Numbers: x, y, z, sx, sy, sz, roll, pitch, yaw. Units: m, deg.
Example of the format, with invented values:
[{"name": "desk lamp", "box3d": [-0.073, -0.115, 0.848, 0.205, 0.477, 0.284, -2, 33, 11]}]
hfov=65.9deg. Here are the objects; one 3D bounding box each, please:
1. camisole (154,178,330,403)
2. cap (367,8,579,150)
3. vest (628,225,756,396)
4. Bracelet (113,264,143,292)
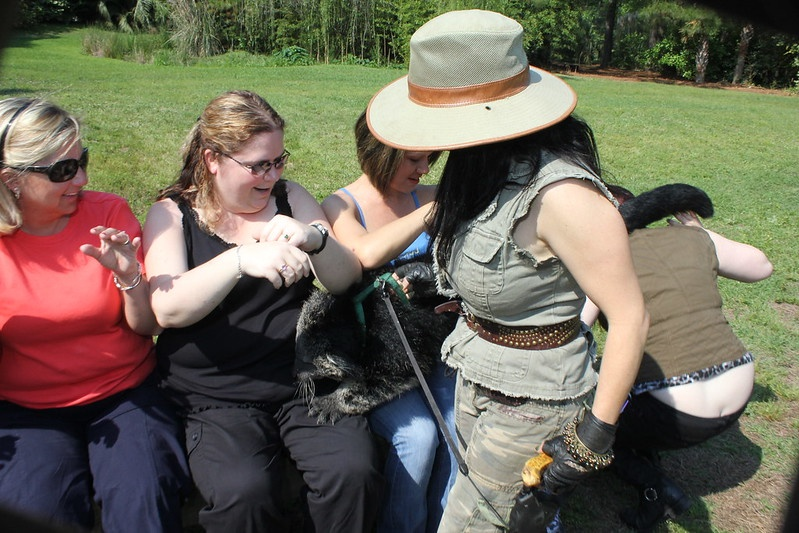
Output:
[{"name": "camisole", "box3d": [-0.970, 0.149, 3.760, 0.662, 1.222, 0.614, -2, -5, -8]}, {"name": "cap", "box3d": [0.305, -0.796, 2.916, 0.690, 0.336, 0.758, -13, 31, -1]}, {"name": "vest", "box3d": [1.729, 0.387, 3.826, 0.715, 1.151, 0.366, -8, -14, 5]}, {"name": "Bracelet", "box3d": [-1.464, 0.059, 3.335, 0.120, 0.152, 0.070, -2, 20, -10]}]
